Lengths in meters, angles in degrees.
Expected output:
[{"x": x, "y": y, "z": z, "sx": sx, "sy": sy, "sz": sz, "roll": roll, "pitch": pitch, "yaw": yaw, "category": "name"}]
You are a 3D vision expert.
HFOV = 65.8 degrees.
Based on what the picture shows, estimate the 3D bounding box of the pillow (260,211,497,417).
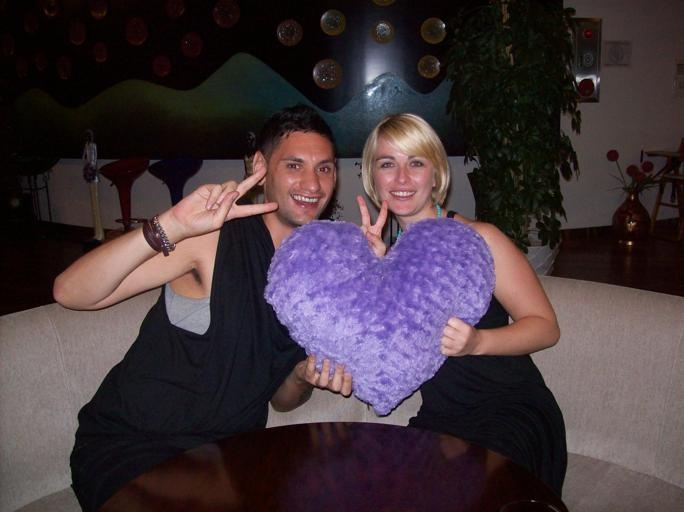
[{"x": 0.104, "y": 0.140, "z": 1.565, "sx": 0.710, "sy": 0.669, "sz": 0.234, "roll": 2, "pitch": -10, "yaw": -2, "category": "pillow"}]

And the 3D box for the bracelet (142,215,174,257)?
[{"x": -0.672, "y": -0.071, "z": 1.937, "sx": 0.054, "sy": 0.115, "sz": 0.130, "roll": -33, "pitch": 7, "yaw": -2, "category": "bracelet"}]

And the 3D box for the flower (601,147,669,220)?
[{"x": 3.288, "y": -0.829, "z": 5.965, "sx": 0.533, "sy": 0.619, "sz": 0.548, "roll": 10, "pitch": 5, "yaw": 22, "category": "flower"}]

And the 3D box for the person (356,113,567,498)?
[{"x": 0.579, "y": 0.325, "z": 2.353, "sx": 0.755, "sy": 2.018, "sz": 0.708, "roll": 0, "pitch": 17, "yaw": 35, "category": "person"}]

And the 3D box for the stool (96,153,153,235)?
[{"x": -1.744, "y": -0.468, "z": 4.266, "sx": 0.342, "sy": 0.713, "sz": 0.405, "roll": 21, "pitch": 31, "yaw": 29, "category": "stool"}]

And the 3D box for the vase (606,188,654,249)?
[{"x": 3.323, "y": -0.467, "z": 6.090, "sx": 0.374, "sy": 0.634, "sz": 0.393, "roll": -3, "pitch": 12, "yaw": -6, "category": "vase"}]
